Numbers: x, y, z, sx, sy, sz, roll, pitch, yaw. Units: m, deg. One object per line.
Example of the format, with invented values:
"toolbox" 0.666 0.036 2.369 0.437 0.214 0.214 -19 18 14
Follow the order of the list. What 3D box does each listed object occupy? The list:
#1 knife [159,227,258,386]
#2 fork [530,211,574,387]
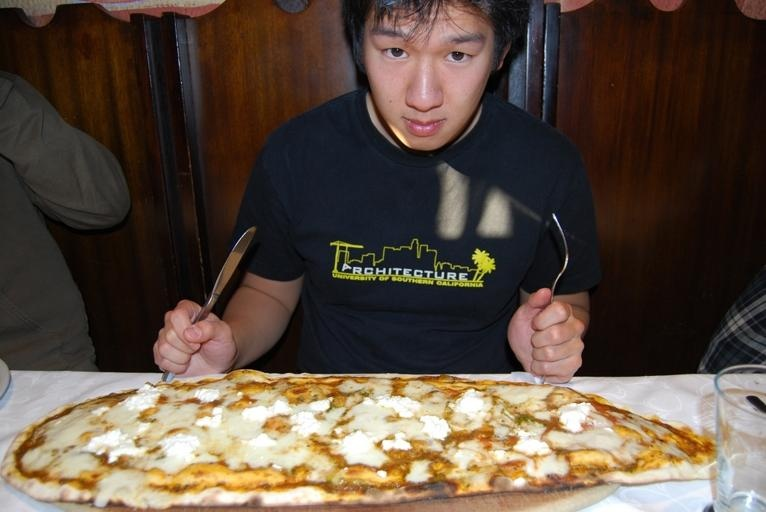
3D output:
"knife" -0.570 0.236 1.706 0.106 0.892 0.046 18 36 -26
"fork" 0.498 0.119 1.637 0.079 0.530 0.064 12 2 -30
